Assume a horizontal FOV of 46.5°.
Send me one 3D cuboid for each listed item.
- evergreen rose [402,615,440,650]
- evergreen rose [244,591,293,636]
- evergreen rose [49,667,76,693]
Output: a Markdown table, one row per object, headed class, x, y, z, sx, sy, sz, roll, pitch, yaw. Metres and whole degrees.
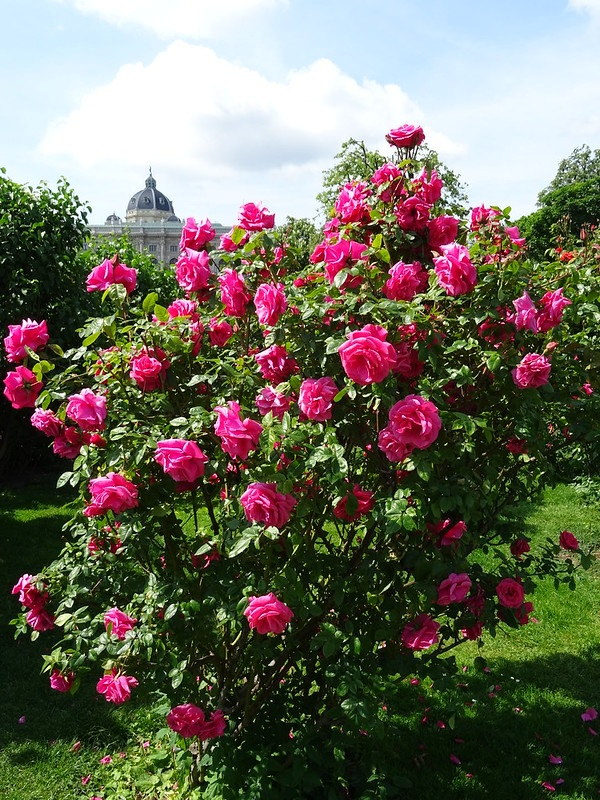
| class | x | y | z | sx | sy | sz | roll | pitch | yaw |
| --- | --- | --- | --- | --- | --- | --- | --- | --- | --- |
| evergreen rose | 0.447 | 0.859 | 2.586 | 0.146 | 0.130 | 0.088 | -22 | -43 | 32 |
| evergreen rose | -0.104 | 0.714 | 2.404 | 0.166 | 0.147 | 0.097 | 7 | 21 | 0 |
| evergreen rose | -1.016 | 1.198 | 2.992 | 0.090 | 0.139 | 0.130 | -2 | 4 | -17 |
